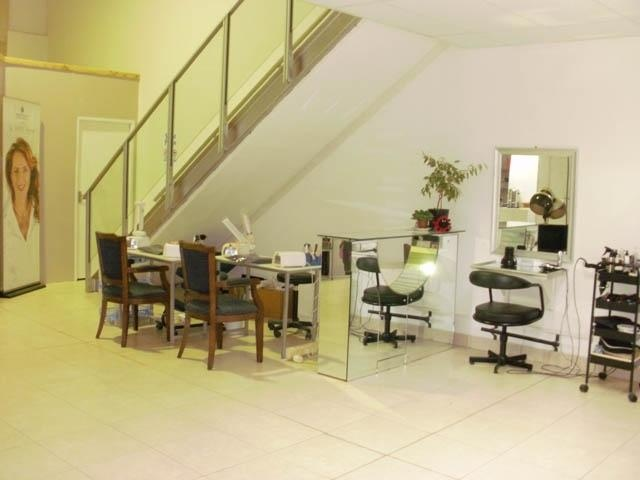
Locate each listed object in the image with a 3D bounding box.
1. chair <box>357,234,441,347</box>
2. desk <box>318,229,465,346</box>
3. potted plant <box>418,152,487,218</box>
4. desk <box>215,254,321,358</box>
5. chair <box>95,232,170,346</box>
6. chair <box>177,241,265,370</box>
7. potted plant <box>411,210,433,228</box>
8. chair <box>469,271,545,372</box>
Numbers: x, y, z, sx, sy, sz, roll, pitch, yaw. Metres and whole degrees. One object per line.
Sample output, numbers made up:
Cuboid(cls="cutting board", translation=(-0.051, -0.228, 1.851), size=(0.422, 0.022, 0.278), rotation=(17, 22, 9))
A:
Cuboid(cls="chair", translation=(0.804, 0.580, 5.594), size=(0.968, 1.155, 0.917), rotation=(2, -4, -8))
Cuboid(cls="desk", translation=(0.734, 0.508, 5.314), size=(1.428, 1.078, 0.543), rotation=(-6, 13, -40))
Cuboid(cls="potted plant", translation=(1.581, -0.648, 6.155), size=(0.816, 0.628, 0.697), rotation=(0, 3, -28))
Cuboid(cls="desk", translation=(-0.624, 0.806, 5.892), size=(0.497, 0.809, 1.168), rotation=(-2, 6, -38))
Cuboid(cls="chair", translation=(-2.301, 0.547, 6.092), size=(0.839, 1.294, 1.140), rotation=(-1, 8, -22))
Cuboid(cls="chair", translation=(-1.095, 0.668, 5.406), size=(0.776, 1.178, 0.754), rotation=(3, 0, 38))
Cuboid(cls="potted plant", translation=(1.198, -0.251, 5.907), size=(0.223, 0.145, 0.220), rotation=(-3, 5, -45))
Cuboid(cls="chair", translation=(1.967, 0.858, 5.374), size=(0.705, 0.991, 0.659), rotation=(0, 0, 27))
